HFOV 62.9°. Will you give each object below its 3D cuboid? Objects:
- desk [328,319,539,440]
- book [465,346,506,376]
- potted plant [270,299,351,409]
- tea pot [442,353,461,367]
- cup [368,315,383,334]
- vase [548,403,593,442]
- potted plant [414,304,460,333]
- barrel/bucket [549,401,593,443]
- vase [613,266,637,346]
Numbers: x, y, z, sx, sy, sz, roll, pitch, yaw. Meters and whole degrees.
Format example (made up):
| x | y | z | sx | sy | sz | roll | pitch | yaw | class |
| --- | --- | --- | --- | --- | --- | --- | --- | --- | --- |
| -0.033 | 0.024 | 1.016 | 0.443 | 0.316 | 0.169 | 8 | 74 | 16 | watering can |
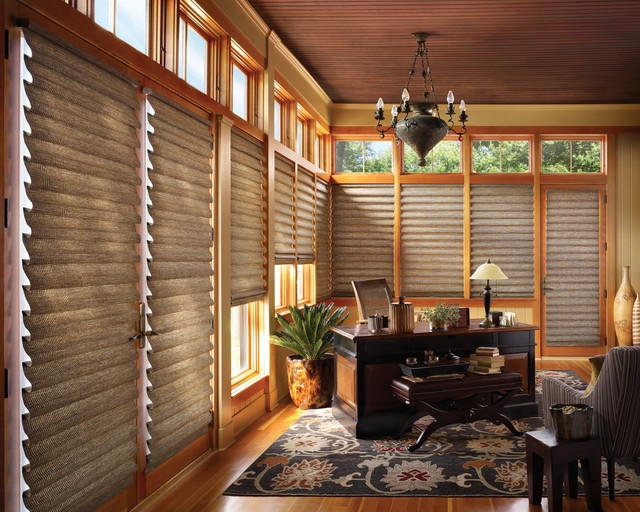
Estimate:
| x | y | z | sx | sy | sz | roll | pitch | yaw | class |
| --- | --- | --- | --- | --- | --- | --- | --- | --- | --- |
| 1.044 | 1.160 | 5.200 | 2.092 | 0.788 | 0.903 | 2 | -6 | -26 | desk |
| 1.389 | 0.865 | 4.417 | 0.253 | 0.199 | 0.338 | 1 | 0 | 26 | book |
| 0.028 | 1.023 | 5.729 | 1.240 | 0.959 | 0.978 | -1 | -1 | 10 | potted plant |
| 1.111 | 0.862 | 4.377 | 0.161 | 0.081 | 0.141 | -1 | 2 | -28 | tea pot |
| 0.490 | 0.611 | 4.691 | 0.166 | 0.141 | 0.152 | 0 | -4 | 0 | cup |
| 1.575 | 1.035 | 3.304 | 0.279 | 0.136 | 0.234 | 1 | -11 | 2 | vase |
| 1.147 | 0.573 | 4.930 | 0.375 | 0.199 | 0.253 | 0 | -3 | 2 | potted plant |
| 1.563 | 1.040 | 3.303 | 0.281 | 0.145 | 0.234 | 1 | -9 | -1 | barrel/bucket |
| 4.299 | 0.703 | 7.357 | 0.265 | 1.124 | 0.521 | 0 | 2 | 22 | vase |
